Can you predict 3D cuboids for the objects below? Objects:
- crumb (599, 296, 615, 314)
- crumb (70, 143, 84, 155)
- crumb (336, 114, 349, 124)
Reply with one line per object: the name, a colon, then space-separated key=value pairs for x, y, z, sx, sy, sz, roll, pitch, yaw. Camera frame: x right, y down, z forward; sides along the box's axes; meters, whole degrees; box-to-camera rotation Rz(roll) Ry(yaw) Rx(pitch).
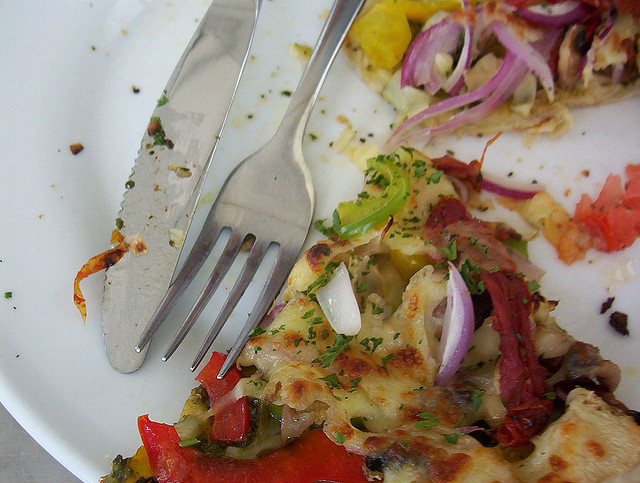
crumb: x=1.372 y=0.308 z=3.803 sx=0.071 sy=0.079 sz=0.033 roll=0 pitch=24 yaw=-31
crumb: x=-1.225 y=-0.467 z=3.968 sx=0.052 sy=0.053 sz=0.017 roll=-17 pitch=10 yaw=-28
crumb: x=0.108 y=-0.628 z=4.038 sx=0.059 sy=0.031 sz=0.014 roll=52 pitch=-7 yaw=-1
